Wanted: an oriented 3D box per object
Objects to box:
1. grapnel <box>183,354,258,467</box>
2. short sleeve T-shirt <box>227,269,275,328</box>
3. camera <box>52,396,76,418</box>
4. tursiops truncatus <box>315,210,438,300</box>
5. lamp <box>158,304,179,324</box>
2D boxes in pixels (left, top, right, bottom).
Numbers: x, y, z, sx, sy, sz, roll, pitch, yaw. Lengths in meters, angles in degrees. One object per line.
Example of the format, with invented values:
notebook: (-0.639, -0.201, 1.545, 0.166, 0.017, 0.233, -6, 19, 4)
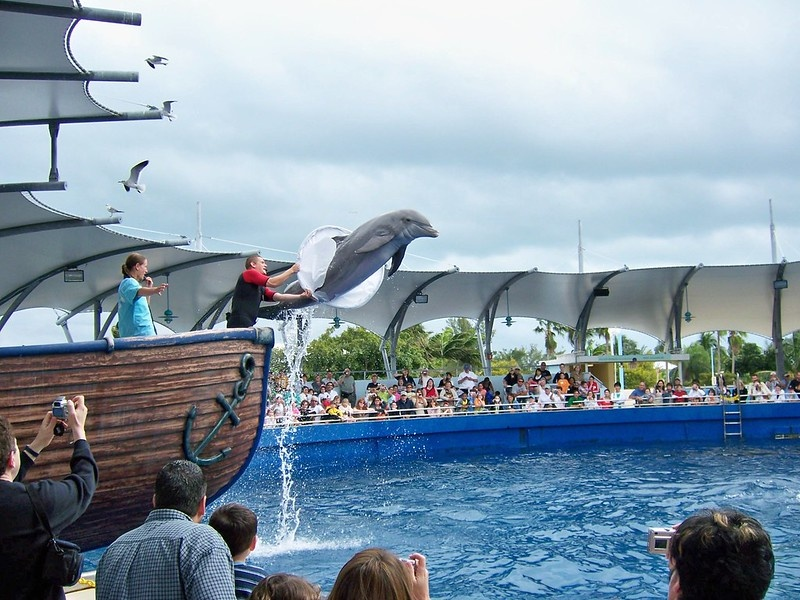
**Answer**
grapnel: (-1.841, 1.114, 8.248, 0.499, 1.117, 0.589, -3, -3, 42)
short sleeve T-shirt: (-1.479, 0.052, 8.548, 0.531, 0.718, 0.533, -9, -14, 44)
camera: (-2.308, 0.742, 5.567, 0.111, 0.151, 0.141, 3, -24, -19)
tursiops truncatus: (-0.350, -0.590, 9.696, 2.056, 0.811, 0.649, -24, 14, -25)
lamp: (-6.014, 0.439, 20.996, 0.597, 0.516, 0.580, 4, -12, -34)
